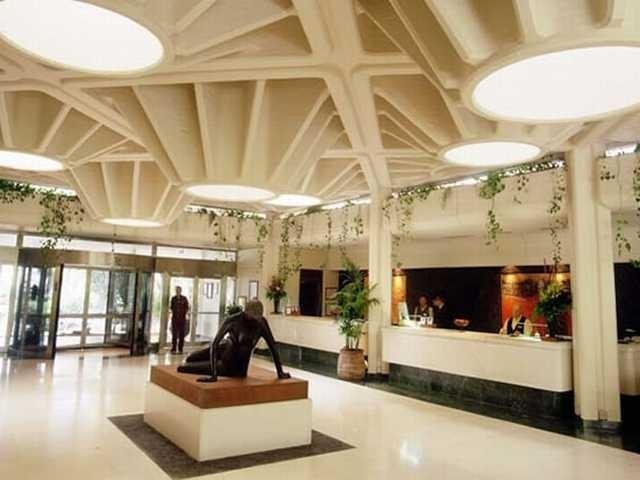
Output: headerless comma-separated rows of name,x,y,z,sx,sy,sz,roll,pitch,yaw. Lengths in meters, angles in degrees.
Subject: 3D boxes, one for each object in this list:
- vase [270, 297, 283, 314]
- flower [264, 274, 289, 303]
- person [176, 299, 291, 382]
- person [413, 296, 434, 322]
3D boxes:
vase,-1.529,2.336,15.245,0.485,0.587,0.505,1,-7,-5
flower,-1.446,1.616,14.679,0.729,0.901,0.746,3,4,14
person,-1.400,1.531,6.747,1.666,1.228,0.928,-1,-5,27
person,3.118,2.058,12.920,0.612,1.173,0.375,-5,-11,24
